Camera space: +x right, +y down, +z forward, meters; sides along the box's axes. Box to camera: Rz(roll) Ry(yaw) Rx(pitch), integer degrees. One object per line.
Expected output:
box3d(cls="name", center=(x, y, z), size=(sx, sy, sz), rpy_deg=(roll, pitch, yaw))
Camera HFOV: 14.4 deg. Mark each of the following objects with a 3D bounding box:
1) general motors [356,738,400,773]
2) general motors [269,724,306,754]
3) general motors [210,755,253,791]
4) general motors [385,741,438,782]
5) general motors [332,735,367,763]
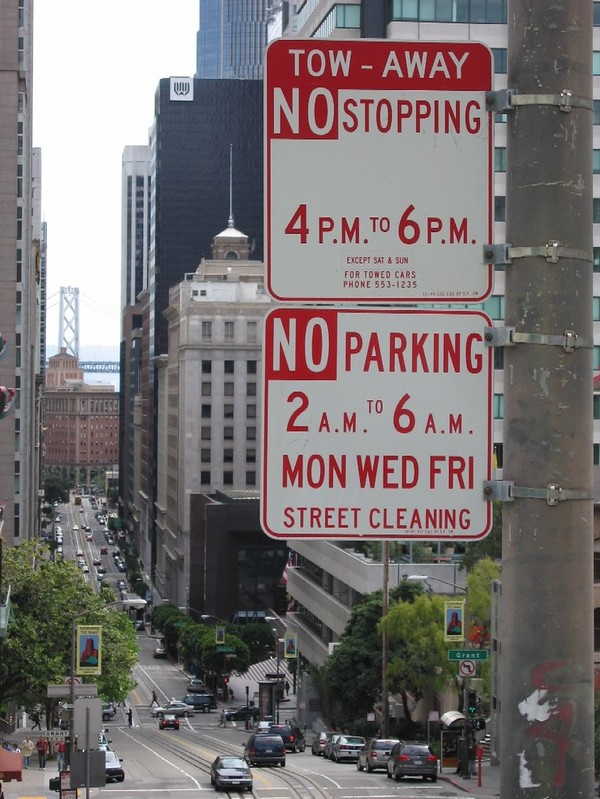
box3d(cls="general motors", center=(2.464, 11.874, 79.057), size=(0.653, 0.877, 1.599), rpy_deg=(0, 2, -4))
box3d(cls="general motors", center=(-0.600, 13.315, 92.373), size=(0.772, 1.086, 2.116), rpy_deg=(0, 3, 5))
box3d(cls="general motors", center=(-2.271, 11.895, 75.334), size=(0.790, 0.920, 2.169), rpy_deg=(1, -4, -7))
box3d(cls="general motors", center=(3.594, 11.571, 75.634), size=(1.415, 1.189, 1.682), rpy_deg=(0, -6, -2))
box3d(cls="general motors", center=(1.697, 12.388, 83.850), size=(0.757, 0.897, 2.168), rpy_deg=(-1, 3, -1))
